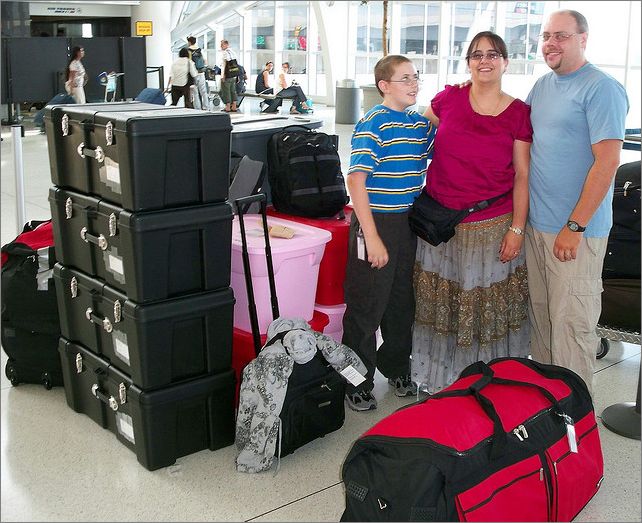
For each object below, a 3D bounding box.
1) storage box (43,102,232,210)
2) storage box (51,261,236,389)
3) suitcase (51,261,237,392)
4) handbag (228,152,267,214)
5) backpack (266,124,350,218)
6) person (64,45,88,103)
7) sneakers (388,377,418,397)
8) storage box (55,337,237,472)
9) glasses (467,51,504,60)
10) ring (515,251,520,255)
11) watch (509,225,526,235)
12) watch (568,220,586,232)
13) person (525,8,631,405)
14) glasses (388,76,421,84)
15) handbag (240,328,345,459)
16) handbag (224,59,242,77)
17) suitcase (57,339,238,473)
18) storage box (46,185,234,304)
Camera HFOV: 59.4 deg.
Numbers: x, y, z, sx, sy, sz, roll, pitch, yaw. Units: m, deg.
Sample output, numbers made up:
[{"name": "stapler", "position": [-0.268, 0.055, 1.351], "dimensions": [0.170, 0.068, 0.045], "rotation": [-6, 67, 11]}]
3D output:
[{"name": "storage box", "position": [-0.810, -0.463, 2.434], "dimensions": [0.784, 0.351, 0.491], "rotation": [17, 21, 42]}, {"name": "storage box", "position": [-0.835, 0.256, 2.593], "dimensions": [0.847, 0.334, 0.525], "rotation": [14, 14, 43]}, {"name": "suitcase", "position": [-0.660, 0.126, 2.402], "dimensions": [0.737, 0.294, 0.513], "rotation": [17, 20, 42]}, {"name": "handbag", "position": [-0.423, -0.461, 3.296], "dimensions": [0.212, 0.286, 0.275], "rotation": [-2, 14, 3]}, {"name": "backpack", "position": [-0.077, -0.488, 3.191], "dimensions": [0.436, 0.486, 0.280], "rotation": [-4, 14, -5]}, {"name": "person", "position": [-5.111, -3.870, 11.609], "dimensions": [0.425, 1.135, 0.763], "rotation": [-9, 16, -22]}, {"name": "sneakers", "position": [0.440, 0.655, 2.989], "dimensions": [0.065, 0.072, 0.159], "rotation": [-3, 15, -19]}, {"name": "storage box", "position": [-0.676, 0.427, 2.449], "dimensions": [0.505, 0.298, 0.751], "rotation": [-11, 21, -43]}, {"name": "glasses", "position": [0.707, -0.867, 2.385], "dimensions": [0.132, 0.038, 0.045], "rotation": [2, 15, 17]}, {"name": "ring", "position": [0.917, -0.038, 2.601], "dimensions": [0.020, 0.010, 0.020], "rotation": [-13, -18, -4]}, {"name": "watch", "position": [0.896, -0.137, 2.541], "dimensions": [0.050, 0.031, 0.050], "rotation": [2, -1, -7]}, {"name": "watch", "position": [1.074, -0.142, 2.352], "dimensions": [0.054, 0.023, 0.054], "rotation": [16, 5, -43]}, {"name": "person", "position": [1.103, -0.120, 2.504], "dimensions": [0.409, 1.428, 0.298], "rotation": [4, 16, 25]}, {"name": "glasses", "position": [0.393, -0.804, 2.514], "dimensions": [0.147, 0.041, 0.061], "rotation": [-12, 17, -31]}, {"name": "handbag", "position": [-0.118, 0.566, 2.371], "dimensions": [0.299, 0.491, 0.368], "rotation": [24, 32, 33]}, {"name": "handbag", "position": [-2.400, -5.151, 15.067], "dimensions": [0.406, 0.506, 0.530], "rotation": [-4, 14, -5]}, {"name": "suitcase", "position": [-0.698, 0.418, 2.419], "dimensions": [0.504, 0.303, 0.752], "rotation": [-11, 21, -42]}, {"name": "storage box", "position": [-0.817, -0.114, 2.511], "dimensions": [0.779, 0.348, 0.500], "rotation": [15, 18, 40]}]
